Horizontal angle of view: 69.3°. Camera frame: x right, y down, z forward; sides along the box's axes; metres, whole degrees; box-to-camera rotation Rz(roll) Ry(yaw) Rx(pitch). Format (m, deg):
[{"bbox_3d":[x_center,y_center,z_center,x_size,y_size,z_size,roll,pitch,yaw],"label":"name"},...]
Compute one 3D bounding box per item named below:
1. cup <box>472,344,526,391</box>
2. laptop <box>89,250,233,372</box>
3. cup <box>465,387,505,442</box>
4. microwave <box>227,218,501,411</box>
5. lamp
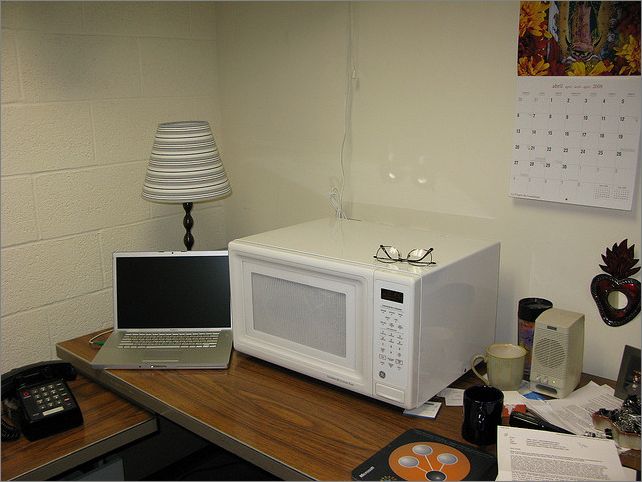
[{"bbox_3d":[0.486,0.330,1.267,0.140,0.104,0.097,2,9,28],"label":"cup"},{"bbox_3d":[-0.508,0.210,1.537,0.479,0.312,0.338,0,12,0],"label":"laptop"},{"bbox_3d":[0.355,0.391,1.054,0.081,0.096,0.129,1,14,12],"label":"cup"},{"bbox_3d":[0.170,0.022,1.265,0.654,0.389,0.478,11,18,40],"label":"microwave"},{"bbox_3d":[-0.505,-0.157,1.739,0.326,0.576,0.321,0,25,-7],"label":"lamp"}]
